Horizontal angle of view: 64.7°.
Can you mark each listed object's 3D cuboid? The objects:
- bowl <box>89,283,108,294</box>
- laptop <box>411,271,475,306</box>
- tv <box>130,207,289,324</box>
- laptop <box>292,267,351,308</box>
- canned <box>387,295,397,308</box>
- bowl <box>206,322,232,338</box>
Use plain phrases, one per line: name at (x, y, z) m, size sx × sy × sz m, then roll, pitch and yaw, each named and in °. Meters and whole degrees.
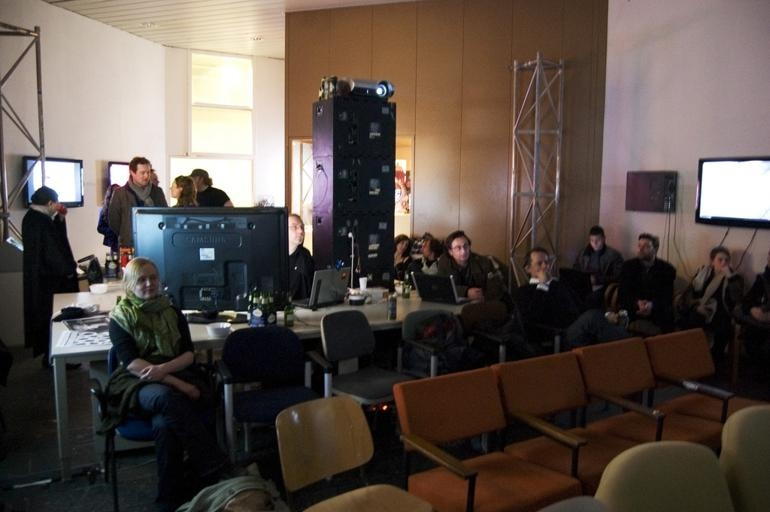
bowl at (-3.128, 0.357, 6.643) m, size 0.121 × 0.056 × 0.123 m, roll 1°, pitch 2°, yaw 0°
laptop at (0.545, 0.352, 6.484) m, size 0.486 × 0.331 × 0.339 m, roll 4°, pitch 18°, yaw 44°
tv at (-1.547, 0.051, 5.295) m, size 1.028 × 0.738 × 0.107 m, roll 0°, pitch 11°, yaw -3°
laptop at (-0.668, 0.272, 6.259) m, size 0.407 × 0.399 × 0.512 m, roll 10°, pitch 13°, yaw 38°
canned at (0.087, 0.448, 6.032) m, size 0.100 × 0.098 × 0.099 m, roll -1°, pitch 0°, yaw -26°
bowl at (-1.478, 0.655, 5.394) m, size 0.147 × 0.068 × 0.149 m, roll 2°, pitch 6°, yaw 0°
